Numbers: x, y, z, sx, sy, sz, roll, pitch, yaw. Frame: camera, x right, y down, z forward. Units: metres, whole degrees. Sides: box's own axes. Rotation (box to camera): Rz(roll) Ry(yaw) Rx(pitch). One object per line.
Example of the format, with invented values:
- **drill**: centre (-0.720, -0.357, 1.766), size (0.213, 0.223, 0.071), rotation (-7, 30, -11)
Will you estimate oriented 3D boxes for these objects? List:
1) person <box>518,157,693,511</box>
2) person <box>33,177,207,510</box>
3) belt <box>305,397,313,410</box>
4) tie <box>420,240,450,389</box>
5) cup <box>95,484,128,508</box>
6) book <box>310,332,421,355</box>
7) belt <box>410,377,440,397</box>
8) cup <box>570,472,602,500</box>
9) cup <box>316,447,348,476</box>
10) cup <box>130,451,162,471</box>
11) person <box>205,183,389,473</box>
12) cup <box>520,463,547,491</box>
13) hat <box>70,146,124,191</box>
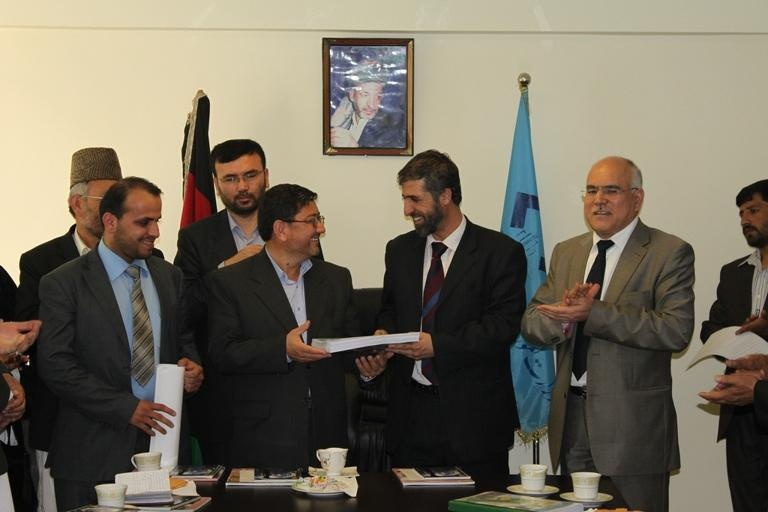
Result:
- **person**: centre (1.430, 0.477, 4.466), size (0.965, 2.246, 0.557), rotation (0, -2, 21)
- **person**: centre (-1.643, 0.533, 4.502), size (0.875, 2.065, 0.618), rotation (0, -2, 11)
- **belt**: centre (-0.466, 0.928, 4.441), size (0.016, 0.064, 0.069), rotation (-1, -9, 17)
- **tie**: centre (0.331, 0.389, 4.644), size (0.132, 0.957, 0.109), rotation (4, -8, 4)
- **cup**: centre (-1.322, 1.156, 3.433), size (0.117, 0.089, 0.120), rotation (2, -10, 0)
- **book**: centre (-0.093, 0.519, 4.199), size (0.659, 0.113, 0.305), rotation (1, -3, -7)
- **belt**: centre (0.260, 0.857, 4.606), size (0.139, 0.056, 0.115), rotation (1, -12, 28)
- **cup**: centre (1.018, 1.149, 3.556), size (0.130, 0.106, 0.124), rotation (1, -7, 0)
- **cup**: centre (-0.281, 1.106, 3.816), size (0.139, 0.114, 0.148), rotation (-1, -11, 0)
- **cup**: centre (-1.238, 1.076, 3.715), size (0.121, 0.078, 0.099), rotation (9, -14, -41)
- **person**: centre (-0.609, 0.422, 4.512), size (0.989, 1.780, 0.608), rotation (1, -2, -15)
- **cup**: centre (0.779, 1.150, 3.696), size (0.128, 0.108, 0.136), rotation (0, -9, 0)
- **hat**: centre (-2.250, -0.648, 5.501), size (0.347, 0.239, 0.343), rotation (4, -10, -36)
